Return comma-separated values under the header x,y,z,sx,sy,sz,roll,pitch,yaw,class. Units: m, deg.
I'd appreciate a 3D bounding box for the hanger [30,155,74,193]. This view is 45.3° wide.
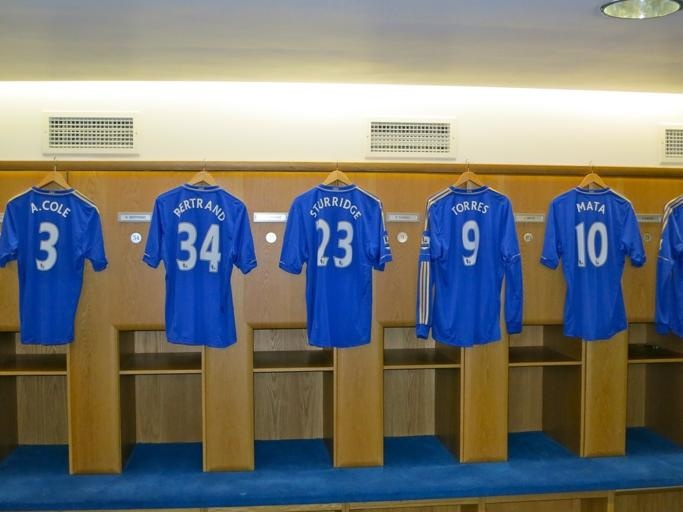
x,y,z,sx,sy,sz,roll,pitch,yaw,class
-2.242,-0.623,6.330,0.299,0.235,0.015,0,3,-4,hanger

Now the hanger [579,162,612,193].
x,y,z,sx,sy,sz,roll,pitch,yaw,class
2.035,-0.626,6.585,0.255,0.187,0.007,-3,3,5,hanger

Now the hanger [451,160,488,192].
x,y,z,sx,sy,sz,roll,pitch,yaw,class
1.009,-0.623,6.476,0.248,0.294,0.012,2,16,7,hanger

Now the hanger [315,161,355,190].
x,y,z,sx,sy,sz,roll,pitch,yaw,class
-0.062,-0.623,6.390,0.200,0.222,0.008,1,4,3,hanger

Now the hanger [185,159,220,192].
x,y,z,sx,sy,sz,roll,pitch,yaw,class
-1.076,-0.617,6.330,0.224,0.187,0.011,2,-1,1,hanger
